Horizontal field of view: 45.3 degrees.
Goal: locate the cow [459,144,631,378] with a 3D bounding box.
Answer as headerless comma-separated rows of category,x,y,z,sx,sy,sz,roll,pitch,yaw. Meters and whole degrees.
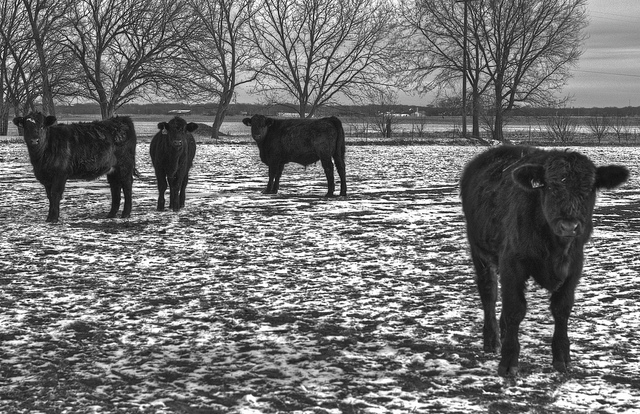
cow,2.462,0.630,9.095,1.691,2.617,0.972,8,13,40

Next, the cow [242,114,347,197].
cow,-0.656,-1.259,18.983,2.681,1.930,0.809,4,7,23

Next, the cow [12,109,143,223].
cow,-4.821,-0.779,15.211,0.832,2.044,2.854,3,3,37

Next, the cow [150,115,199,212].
cow,-3.129,-0.943,16.185,0.925,1.891,1.319,-1,10,-5
